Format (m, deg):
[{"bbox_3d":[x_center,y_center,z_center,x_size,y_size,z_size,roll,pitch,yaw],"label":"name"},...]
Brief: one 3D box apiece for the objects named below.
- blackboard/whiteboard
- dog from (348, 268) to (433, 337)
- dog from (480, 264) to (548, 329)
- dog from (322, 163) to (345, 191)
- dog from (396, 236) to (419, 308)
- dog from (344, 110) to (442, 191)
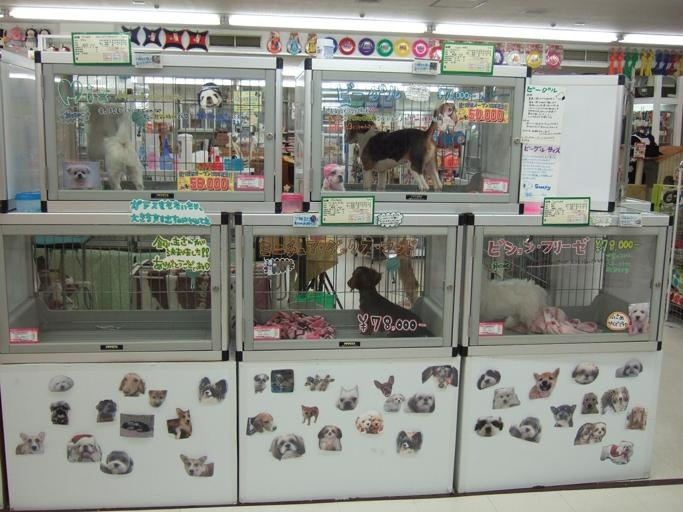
[{"bbox_3d":[1.317,-0.582,3.515,0.600,0.812,0.508,5,-7,22],"label":"blackboard/whiteboard"},{"bbox_3d":[0.266,0.263,3.401,0.484,0.373,0.184,12,10,18],"label":"dog"},{"bbox_3d":[0.947,0.203,3.425,0.286,0.208,0.392,4,30,-10],"label":"dog"},{"bbox_3d":[-0.048,-0.407,3.154,0.109,0.136,0.131,-2,3,-15],"label":"dog"},{"bbox_3d":[0.357,0.077,3.391,0.091,0.446,0.166,-3,6,-4],"label":"dog"},{"bbox_3d":[0.281,-0.580,3.343,0.599,0.449,0.190,5,8,30],"label":"dog"}]
